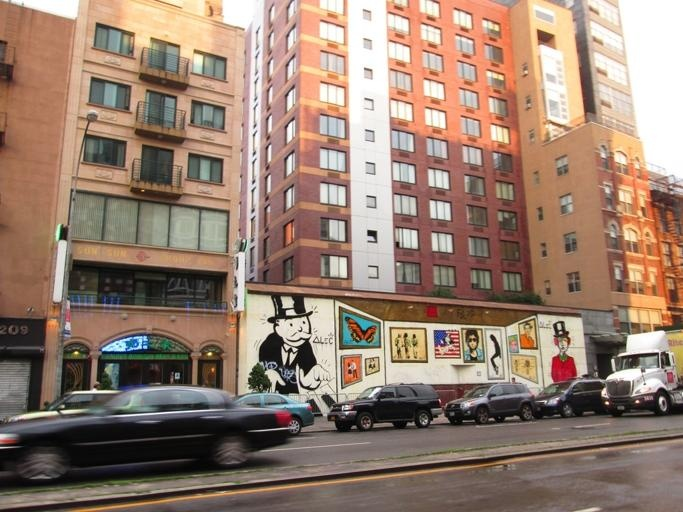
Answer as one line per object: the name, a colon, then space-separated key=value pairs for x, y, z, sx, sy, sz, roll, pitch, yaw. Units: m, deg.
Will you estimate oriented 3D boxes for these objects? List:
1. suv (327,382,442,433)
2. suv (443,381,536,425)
suv: x=2.034 y=7.670 z=30.834 sx=5.414 sy=1.788 sz=2.395 roll=9 pitch=-22 yaw=-24
suv: x=7.955 y=7.783 z=32.265 sx=4.456 sy=1.969 sz=1.817 roll=4 pitch=-6 yaw=-31
